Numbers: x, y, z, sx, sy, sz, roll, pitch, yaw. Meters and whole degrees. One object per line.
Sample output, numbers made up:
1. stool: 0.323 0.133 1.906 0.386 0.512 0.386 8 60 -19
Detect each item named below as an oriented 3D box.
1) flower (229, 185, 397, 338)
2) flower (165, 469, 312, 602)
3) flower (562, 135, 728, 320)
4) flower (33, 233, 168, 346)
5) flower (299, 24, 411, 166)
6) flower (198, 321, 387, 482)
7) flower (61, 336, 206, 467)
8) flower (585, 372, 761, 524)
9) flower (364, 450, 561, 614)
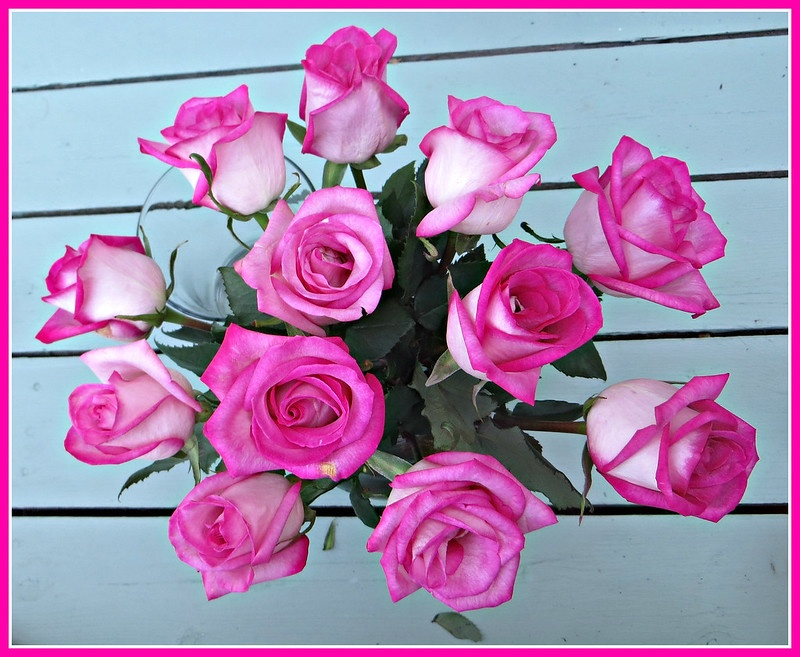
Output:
1. flower: -0.056 -0.051 0.688 0.129 0.116 0.060 -12 -19 -3
2. flower: -0.129 0.174 0.699 0.130 0.108 0.060 6 -1 18
3. flower: 0.211 -0.089 0.717 0.138 0.149 0.063 1 10 6
4. flower: -0.246 -0.024 0.763 0.104 0.052 0.097 -15 45 27
5. flower: -0.040 -0.205 0.732 0.093 0.120 0.082 -1 10 -7
6. flower: -0.088 0.076 0.673 0.139 0.061 0.133 -5 47 -31
7. flower: -0.227 0.060 0.703 0.111 0.103 0.056 4 11 25
8. flower: 0.208 0.105 0.738 0.199 0.086 0.167 7 -6 31
9. flower: 0.045 0.215 0.729 0.084 0.174 0.163 28 56 15
